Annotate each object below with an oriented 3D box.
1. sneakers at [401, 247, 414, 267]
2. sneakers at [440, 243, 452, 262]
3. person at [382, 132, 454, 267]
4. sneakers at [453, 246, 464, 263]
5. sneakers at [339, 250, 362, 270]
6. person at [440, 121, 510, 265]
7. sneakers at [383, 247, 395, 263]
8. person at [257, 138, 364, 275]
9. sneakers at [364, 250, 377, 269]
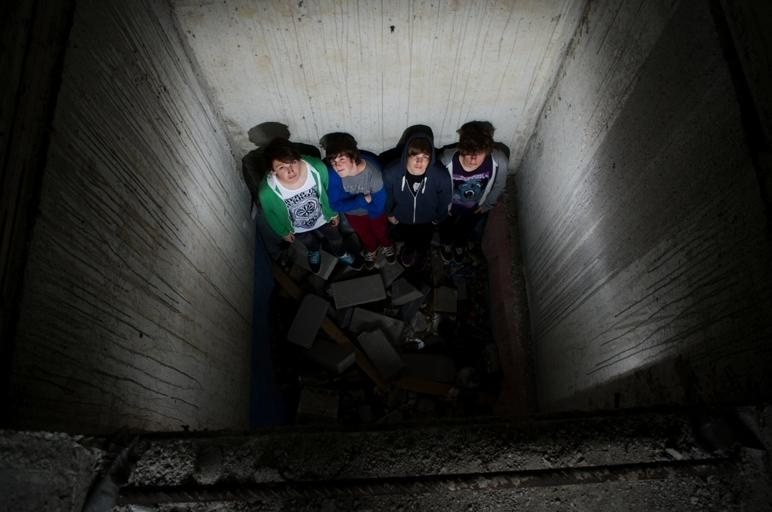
[{"bbox_3d":[0.186,0.002,4.034,0.099,0.154,0.108,2,14,8],"label":"sneakers"},{"bbox_3d":[0.512,-0.031,4.015,0.062,0.075,0.174,1,60,2],"label":"sneakers"},{"bbox_3d":[0.238,-0.391,3.568,0.533,1.264,0.312,5,53,7],"label":"person"},{"bbox_3d":[0.614,-0.011,3.968,0.052,0.060,0.138,4,78,6],"label":"sneakers"},{"bbox_3d":[-0.287,0.041,3.983,0.220,0.090,0.105,13,88,8],"label":"sneakers"},{"bbox_3d":[0.598,-0.436,3.629,0.548,1.422,0.380,-1,55,3],"label":"person"},{"bbox_3d":[0.024,-0.018,3.982,0.063,0.165,0.071,-1,30,18],"label":"sneakers"},{"bbox_3d":[-0.545,-0.333,3.607,0.672,1.686,0.365,-6,68,-1],"label":"person"},{"bbox_3d":[-0.129,0.033,3.980,0.067,0.082,0.188,-1,72,4],"label":"sneakers"}]
